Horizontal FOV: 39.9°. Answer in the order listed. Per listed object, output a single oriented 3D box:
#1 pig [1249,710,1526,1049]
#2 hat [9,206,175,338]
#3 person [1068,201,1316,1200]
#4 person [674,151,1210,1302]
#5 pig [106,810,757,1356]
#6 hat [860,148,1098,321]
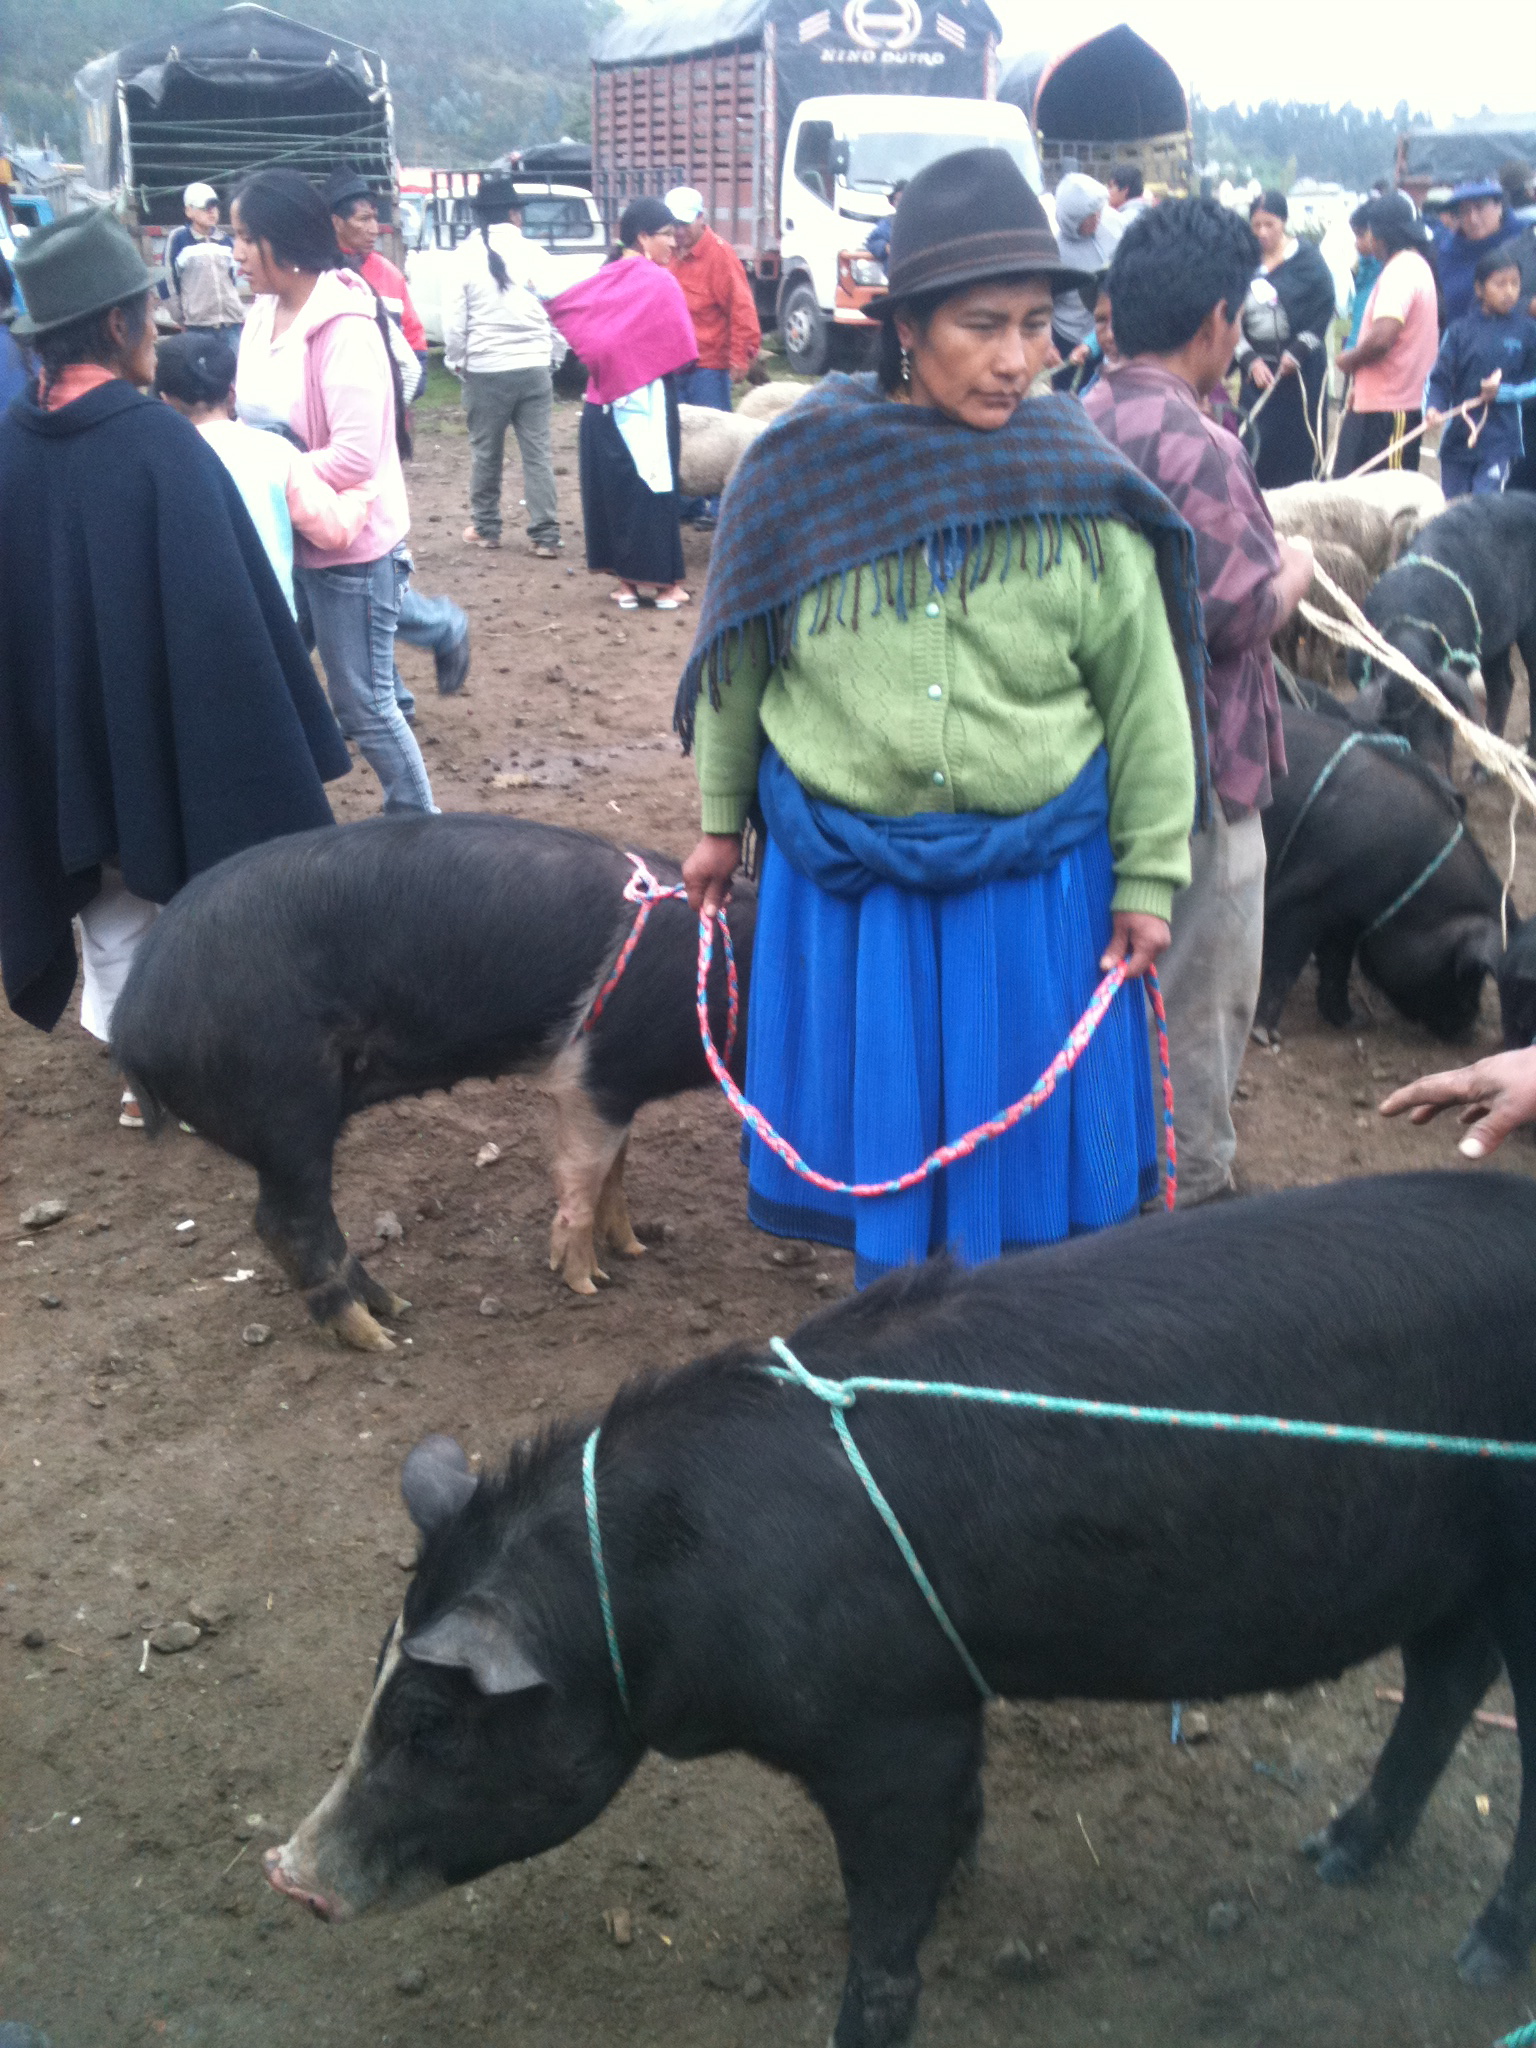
[{"bbox_3d":[1.424,-0.311,4.933,0.432,0.820,0.250,-22,18,19],"label":"pig"},{"bbox_3d":[-1.162,-1.281,3.634,0.282,0.203,0.189,-9,19,-24],"label":"hat"},{"bbox_3d":[0.688,-0.492,3.249,0.465,1.509,0.478,-11,34,-6],"label":"person"},{"bbox_3d":[0.228,-0.285,2.629,0.683,1.431,0.449,3,18,13],"label":"person"},{"bbox_3d":[-0.406,0.085,3.577,1.326,0.850,0.383,-4,17,-16],"label":"pig"},{"bbox_3d":[0.233,-0.900,2.405,0.235,0.180,0.208,-3,21,-1],"label":"hat"}]
